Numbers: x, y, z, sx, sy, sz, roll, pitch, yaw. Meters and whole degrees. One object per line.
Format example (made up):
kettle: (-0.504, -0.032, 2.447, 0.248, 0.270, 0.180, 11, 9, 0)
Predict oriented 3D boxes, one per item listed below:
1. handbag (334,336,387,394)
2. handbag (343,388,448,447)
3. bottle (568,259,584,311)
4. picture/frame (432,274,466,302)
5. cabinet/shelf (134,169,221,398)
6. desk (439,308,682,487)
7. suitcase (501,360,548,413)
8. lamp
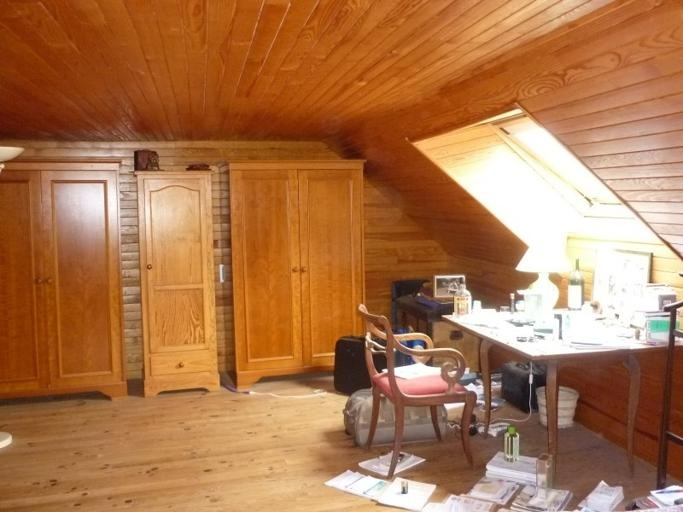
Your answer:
handbag: (0.180, 1.010, 4.706, 0.235, 0.480, 0.647, 1, -9, -40)
handbag: (0.399, 1.211, 3.915, 0.732, 0.248, 0.725, -5, -5, -17)
bottle: (1.704, 0.197, 3.708, 0.086, 0.341, 0.293, 1, 9, 27)
picture/frame: (0.970, 0.297, 4.647, 0.357, 0.201, 0.016, 7, -19, 36)
cabinet/shelf: (-1.515, 0.258, 4.738, 0.800, 2.078, 0.249, -5, 9, -9)
desk: (1.249, 0.751, 3.385, 1.239, 0.794, 1.353, -2, 5, -21)
suitcase: (1.574, 1.098, 4.324, 0.357, 0.347, 0.510, 1, -1, -7)
lamp: (1.500, 0.111, 3.835, 0.333, 0.501, 0.572, 2, 9, 31)
